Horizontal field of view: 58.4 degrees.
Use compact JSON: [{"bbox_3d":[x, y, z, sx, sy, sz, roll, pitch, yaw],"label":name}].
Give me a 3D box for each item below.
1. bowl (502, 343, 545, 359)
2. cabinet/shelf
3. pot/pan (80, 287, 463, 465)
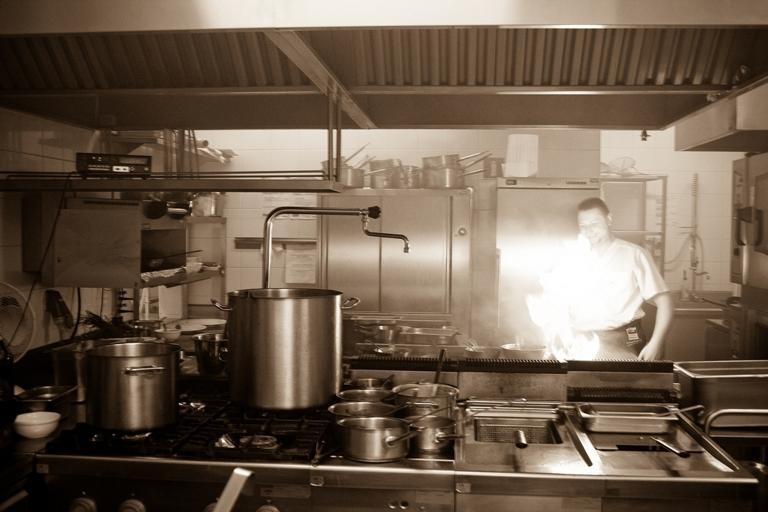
[{"bbox_3d":[0.862,0.597,4.286,0.279,0.072,0.246,1,-2,-14],"label":"bowl"},{"bbox_3d":[-1.485,-0.054,4.515,0.651,0.562,1.062,2,-4,18],"label":"cabinet/shelf"},{"bbox_3d":[-0.504,0.533,3.091,1.542,0.474,0.733,0,0,-1],"label":"pot/pan"}]
